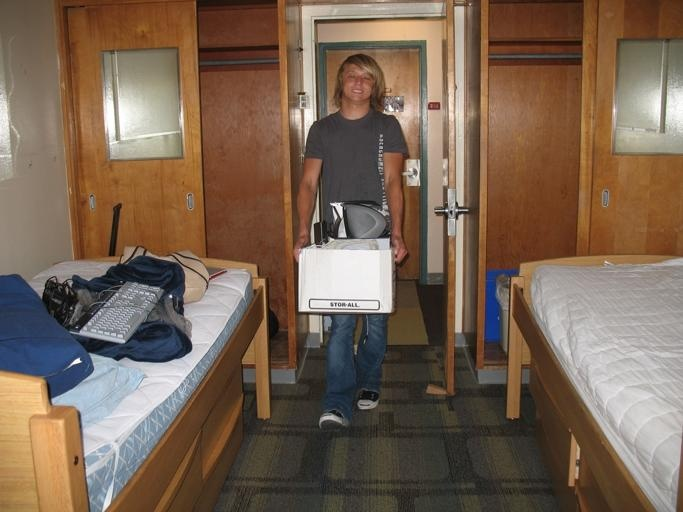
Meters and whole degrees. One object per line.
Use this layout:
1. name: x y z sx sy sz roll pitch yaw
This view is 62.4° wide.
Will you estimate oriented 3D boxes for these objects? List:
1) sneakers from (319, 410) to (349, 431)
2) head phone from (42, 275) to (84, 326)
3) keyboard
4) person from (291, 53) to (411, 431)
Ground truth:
1. sneakers: -0.046 0.887 3.010 0.157 0.070 0.080 54 -8 -3
2. head phone: -1.109 0.176 2.231 0.144 0.063 0.200 34 25 -43
3. keyboard: -0.862 0.178 2.179 0.229 0.392 0.067 23 36 -36
4. person: 0.060 -0.105 3.167 0.630 1.994 0.706 -1 10 7
